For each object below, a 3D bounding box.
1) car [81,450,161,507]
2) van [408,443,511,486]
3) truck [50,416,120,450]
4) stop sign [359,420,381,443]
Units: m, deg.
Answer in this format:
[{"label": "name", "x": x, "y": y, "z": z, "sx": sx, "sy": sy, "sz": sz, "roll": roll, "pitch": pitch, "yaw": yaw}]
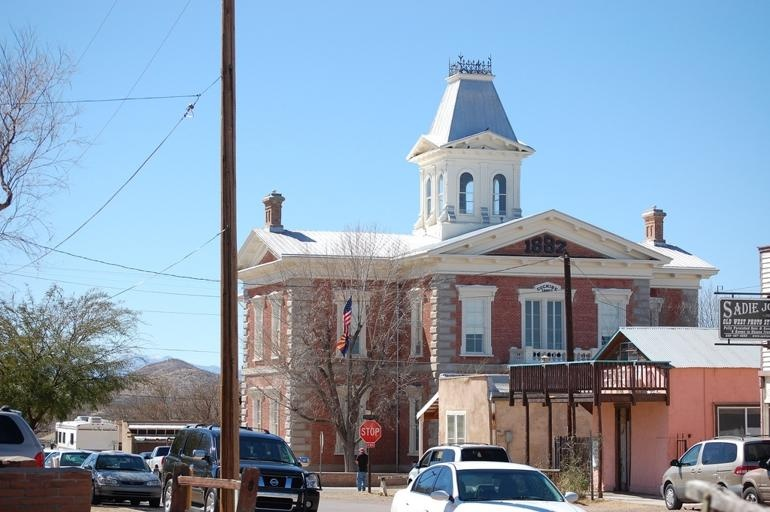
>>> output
[{"label": "car", "x": -9.978, "y": 8.500, "z": 53.973, "sx": 2.771, "sy": 2.175, "sz": 2.746, "roll": 2, "pitch": -11, "yaw": -13}, {"label": "van", "x": 2.550, "y": 7.163, "z": 50.794, "sx": 1.706, "sy": 1.328, "sz": 3.240, "roll": 3, "pitch": -3, "yaw": -19}, {"label": "truck", "x": -16.504, "y": 9.791, "z": 78.324, "sx": 2.177, "sy": 2.252, "sz": 4.267, "roll": 3, "pitch": -4, "yaw": -30}, {"label": "stop sign", "x": -0.623, "y": 7.745, "z": 62.475, "sx": 0.775, "sy": 1.014, "sz": 1.296, "roll": -1, "pitch": -11, "yaw": 5}]
